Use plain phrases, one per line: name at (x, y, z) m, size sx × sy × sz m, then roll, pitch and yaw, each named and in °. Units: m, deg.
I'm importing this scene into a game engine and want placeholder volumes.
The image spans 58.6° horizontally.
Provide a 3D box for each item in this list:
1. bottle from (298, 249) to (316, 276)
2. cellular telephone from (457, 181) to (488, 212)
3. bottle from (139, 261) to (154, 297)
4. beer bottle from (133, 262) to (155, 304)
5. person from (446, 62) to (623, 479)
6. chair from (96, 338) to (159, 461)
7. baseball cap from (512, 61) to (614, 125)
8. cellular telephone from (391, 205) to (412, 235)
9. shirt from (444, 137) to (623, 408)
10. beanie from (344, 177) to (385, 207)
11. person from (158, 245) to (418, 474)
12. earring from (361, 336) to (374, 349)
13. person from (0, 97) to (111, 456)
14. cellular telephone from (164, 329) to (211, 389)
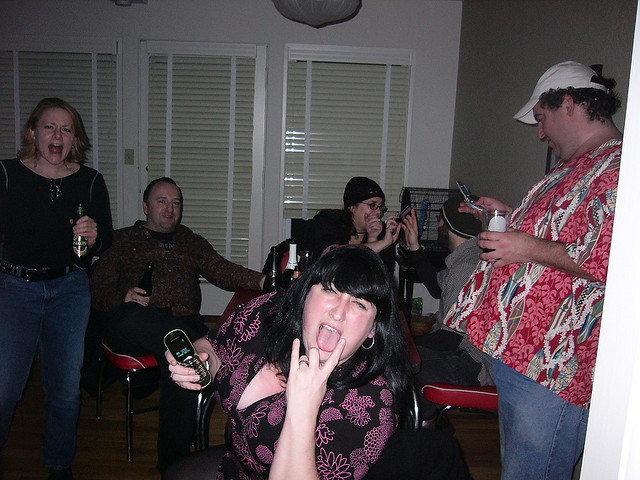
bottle at (-0.074, 0.115, 3.124) m, size 0.110 × 0.187 × 0.115 m, roll 0°, pitch -6°, yaw 0°
cellular telephone at (0.699, -0.196, 2.628) m, size 0.064 × 0.054 × 0.298 m, roll -12°, pitch 35°, yaw 1°
bottle at (-1.017, 0.234, 3.351) m, size 0.053 × 0.203 × 0.054 m, roll 13°, pitch 47°, yaw -14°
beer bottle at (-1.026, 0.259, 3.331) m, size 0.085 × 0.259 × 0.083 m, roll 17°, pitch 33°, yaw -11°
person at (0.895, 0.116, 2.375) m, size 0.550 × 1.706 × 0.423 m, roll 5°, pitch 9°, yaw 28°
chair at (-1.116, 0.859, 3.297) m, size 0.315 × 0.687 × 0.562 m, roll -2°, pitch 8°, yaw -24°
baseball cap at (1.027, -0.683, 2.464) m, size 0.228 × 0.178 × 0.321 m, roll -11°, pitch 3°, yaw -35°
cellular telephone at (0.540, -0.129, 3.632) m, size 0.108 × 0.177 × 0.182 m, roll 6°, pitch 9°, yaw 28°
shirt at (0.875, 0.100, 2.351) m, size 0.570 × 1.029 × 0.344 m, roll 6°, pitch 9°, yaw 30°
beanie at (0.304, -0.330, 3.817) m, size 0.205 × 0.170 × 0.210 m, roll 5°, pitch 5°, yaw -6°
person at (-0.097, 0.470, 2.112) m, size 0.838 × 0.887 × 0.536 m, roll 4°, pitch 8°, yaw 14°
earring at (0.176, 0.377, 2.114) m, size 0.041 × 0.009 × 0.041 m, roll -4°, pitch 31°, yaw 7°
person at (-1.321, 0.192, 2.877) m, size 0.546 × 1.790 × 0.405 m, roll -2°, pitch 8°, yaw -27°
cellular telephone at (-0.495, 0.449, 2.156) m, size 0.109 × 0.272 × 0.043 m, roll -31°, pitch 1°, yaw -12°
